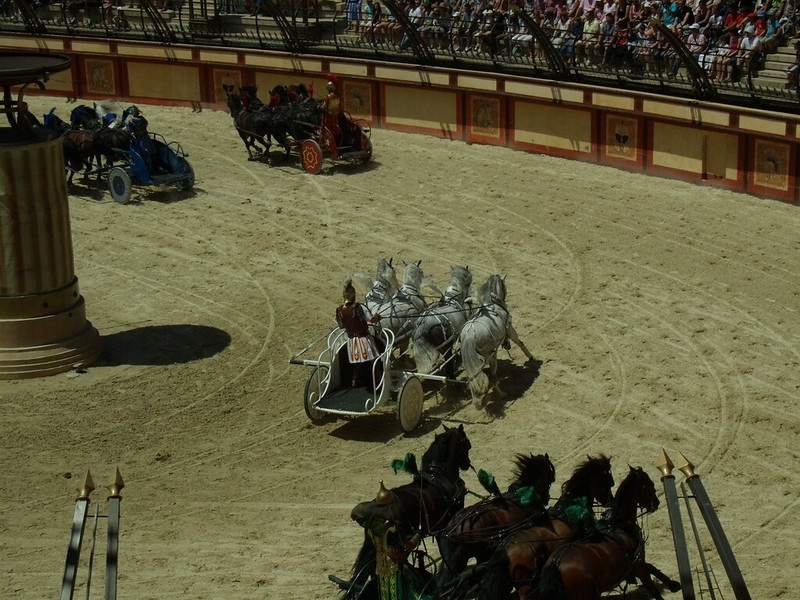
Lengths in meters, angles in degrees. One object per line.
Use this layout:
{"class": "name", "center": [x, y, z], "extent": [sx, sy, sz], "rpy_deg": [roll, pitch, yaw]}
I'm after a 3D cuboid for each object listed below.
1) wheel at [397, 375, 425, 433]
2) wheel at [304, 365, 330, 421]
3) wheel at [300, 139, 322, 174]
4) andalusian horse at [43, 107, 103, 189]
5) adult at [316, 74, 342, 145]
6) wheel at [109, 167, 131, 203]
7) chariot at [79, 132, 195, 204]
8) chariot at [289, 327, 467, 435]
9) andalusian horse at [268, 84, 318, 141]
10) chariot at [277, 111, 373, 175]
{"class": "wheel", "center": [0.140, 1.636, 19.861], "extent": [0.187, 0.738, 0.744], "rpy_deg": [3, -17, 26]}
{"class": "wheel", "center": [-1.413, 1.498, 20.089], "extent": [0.198, 0.726, 0.741], "rpy_deg": [3, -1, 3]}
{"class": "wheel", "center": [-2.080, -3.374, 29.059], "extent": [0.314, 0.790, 0.743], "rpy_deg": [-13, 20, -35]}
{"class": "andalusian horse", "center": [-7.639, -3.678, 29.063], "extent": [1.464, 2.529, 1.391], "rpy_deg": [-6, 18, -18]}
{"class": "adult", "center": [-1.640, -4.416, 28.928], "extent": [0.495, 1.587, 0.586], "rpy_deg": [-2, 16, -4]}
{"class": "wheel", "center": [-6.415, -2.646, 28.269], "extent": [0.751, 0.830, 0.243], "rpy_deg": [14, 22, 42]}
{"class": "chariot", "center": [-6.079, -3.098, 28.655], "extent": [1.345, 1.122, 2.460], "rpy_deg": [-20, 34, -38]}
{"class": "chariot", "center": [-0.422, 1.208, 20.365], "extent": [2.057, 0.925, 2.074], "rpy_deg": [8, 26, 24]}
{"class": "andalusian horse", "center": [-2.485, -4.672, 30.104], "extent": [1.117, 1.585, 1.098], "rpy_deg": [13, 27, 34]}
{"class": "chariot", "center": [-1.664, -3.806, 29.514], "extent": [1.708, 1.537, 1.821], "rpy_deg": [7, 25, 24]}
